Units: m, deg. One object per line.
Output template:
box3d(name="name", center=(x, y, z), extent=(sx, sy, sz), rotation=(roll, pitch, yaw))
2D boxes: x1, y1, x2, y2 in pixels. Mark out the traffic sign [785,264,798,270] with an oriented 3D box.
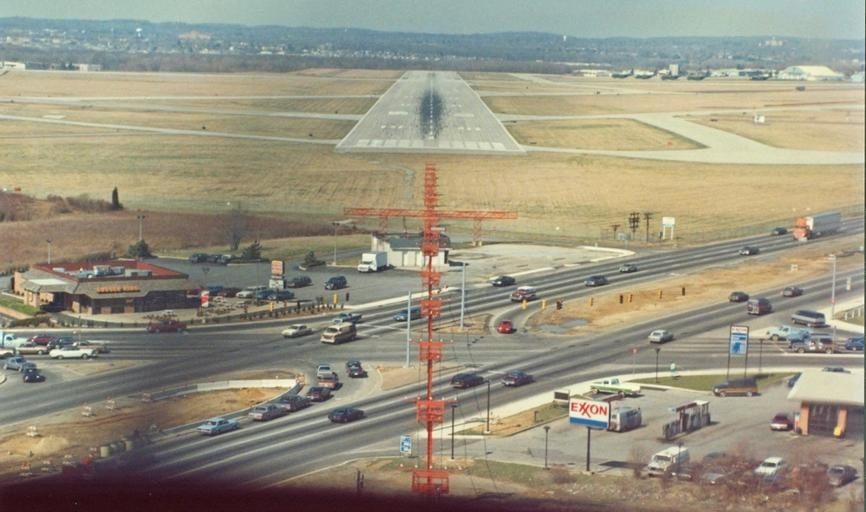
box3d(name="traffic sign", center=(14.089, 0.421, 63.135), extent=(0.423, 0.292, 0.232), rotation=(0, -1, 11))
